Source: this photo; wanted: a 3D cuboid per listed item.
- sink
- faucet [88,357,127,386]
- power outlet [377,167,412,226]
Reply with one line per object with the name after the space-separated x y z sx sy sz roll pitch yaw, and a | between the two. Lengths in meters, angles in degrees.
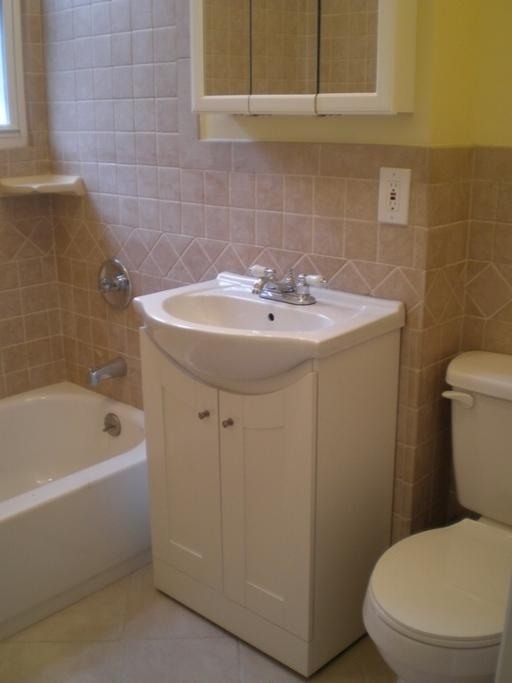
-0.006 -0.013 1.451 0.471 0.196 0.679 -11 16 -39 | sink
-0.560 0.118 2.144 0.062 0.097 0.162 3 7 30 | faucet
0.321 -0.335 1.299 0.018 0.156 0.104 -15 21 -39 | power outlet
